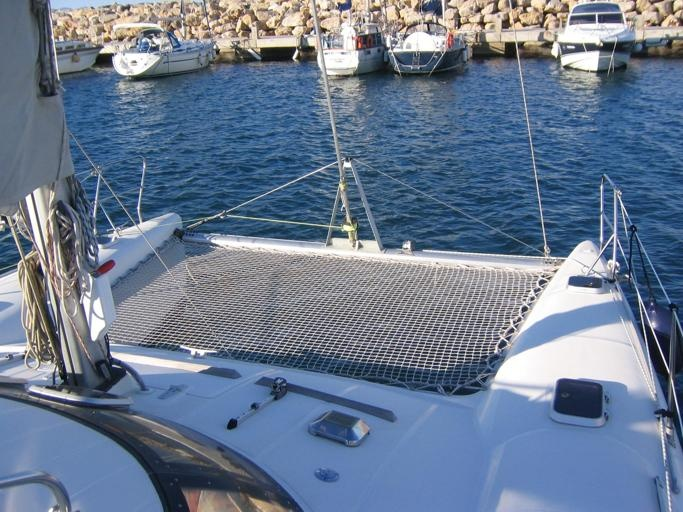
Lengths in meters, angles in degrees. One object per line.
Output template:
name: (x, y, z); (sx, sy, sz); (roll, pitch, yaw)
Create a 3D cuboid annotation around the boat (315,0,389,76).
boat: (0.727, -8.881, 25.661); (2.050, 1.899, 4.382); (10, 30, 23)

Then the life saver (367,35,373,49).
life saver: (1.066, -8.526, 24.631); (0.067, 0.626, 0.411); (12, 33, 24)

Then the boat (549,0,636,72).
boat: (9.058, -7.428, 22.159); (1.735, 1.657, 4.008); (8, 48, 22)

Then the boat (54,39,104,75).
boat: (-12.379, -9.038, 28.051); (1.301, 1.045, 3.185); (7, 25, 39)

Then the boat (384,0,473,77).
boat: (3.839, -8.424, 25.677); (2.817, 2.336, 5.204); (4, 37, 17)

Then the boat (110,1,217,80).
boat: (-7.565, -8.948, 27.127); (3.188, 2.249, 5.970); (5, 23, 23)

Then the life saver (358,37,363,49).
life saver: (0.697, -8.321, 24.131); (0.096, 0.401, 0.407); (9, 39, 19)
